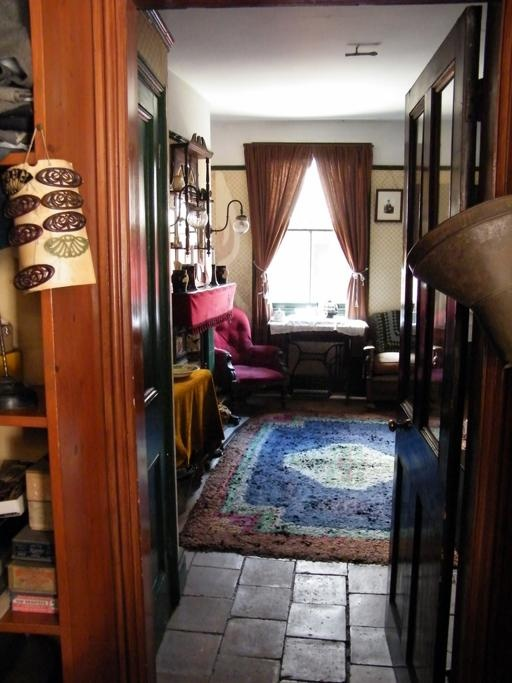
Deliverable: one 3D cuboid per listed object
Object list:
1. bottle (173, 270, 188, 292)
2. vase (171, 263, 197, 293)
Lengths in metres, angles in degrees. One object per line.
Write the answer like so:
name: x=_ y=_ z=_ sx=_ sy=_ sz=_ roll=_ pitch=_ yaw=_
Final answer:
bottle: x=-0.474 y=-0.378 z=3.378 sx=0.116 sy=0.139 sz=0.117 roll=-3 pitch=8 yaw=-25
vase: x=-0.441 y=-0.406 z=3.452 sx=0.108 sy=0.209 sz=0.194 roll=0 pitch=-5 yaw=8
